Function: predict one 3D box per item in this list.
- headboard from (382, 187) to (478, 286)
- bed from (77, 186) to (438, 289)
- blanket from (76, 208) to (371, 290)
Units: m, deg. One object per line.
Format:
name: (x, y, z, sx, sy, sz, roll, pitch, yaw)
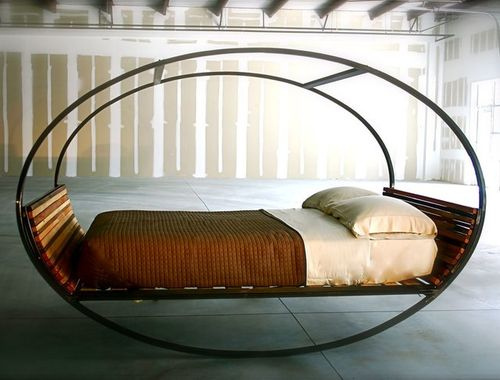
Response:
headboard: (1.328, 0.076, 3.063, 0.527, 0.537, 1.143, -1, 4, -5)
bed: (-0.053, 0.315, 3.434, 2.645, 0.521, 1.682, 0, 4, -19)
blanket: (-0.158, 0.390, 2.786, 1.132, 0.224, 0.808, 0, 3, -4)
